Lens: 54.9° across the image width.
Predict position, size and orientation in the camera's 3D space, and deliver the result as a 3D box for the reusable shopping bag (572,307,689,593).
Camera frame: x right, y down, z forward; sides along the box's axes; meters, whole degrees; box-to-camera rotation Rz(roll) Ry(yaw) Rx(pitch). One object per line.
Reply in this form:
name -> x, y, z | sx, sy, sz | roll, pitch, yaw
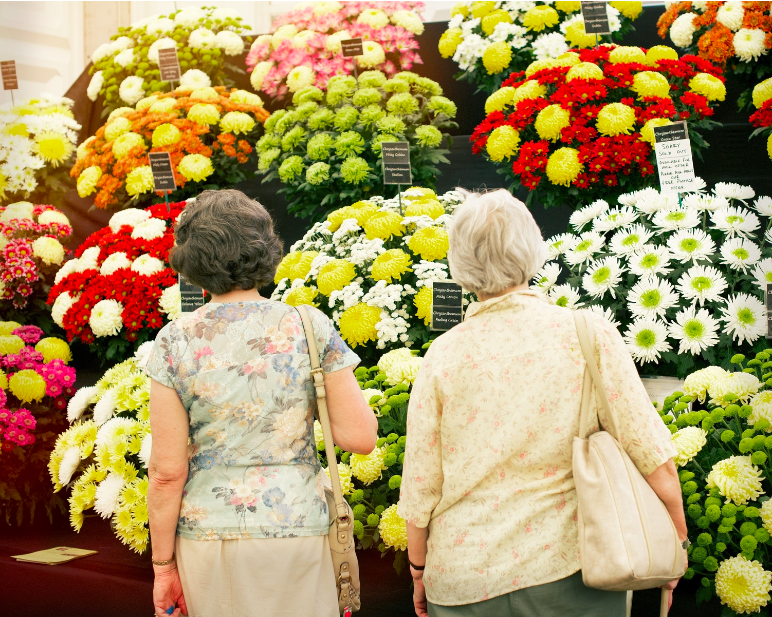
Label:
reusable shopping bag -> 0.544, 0.319, 1.685 | 0.233, 0.613, 0.188 | -1, 7, 23
